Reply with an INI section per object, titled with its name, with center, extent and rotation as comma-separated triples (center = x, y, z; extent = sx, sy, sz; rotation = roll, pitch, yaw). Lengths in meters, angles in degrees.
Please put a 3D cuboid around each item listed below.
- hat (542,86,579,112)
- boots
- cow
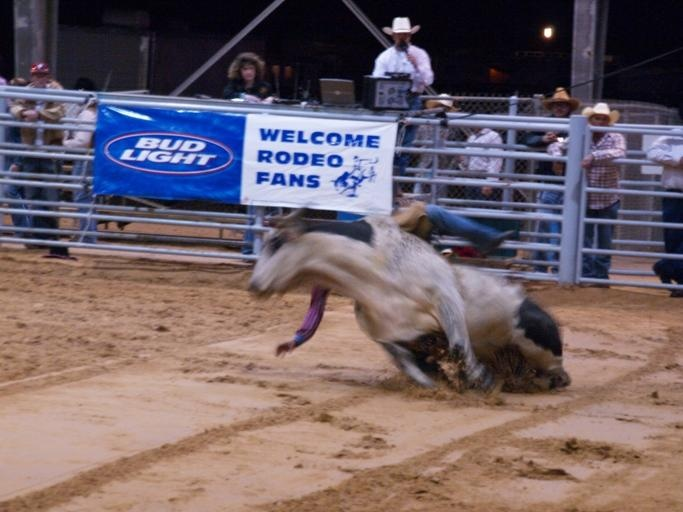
[hat]
center = 3.224, -2.296, 12.820
extent = 0.658, 0.161, 0.575
rotation = -1, -13, 13
[boots]
center = 1.370, -0.284, 10.109
extent = 1.132, 0.248, 0.363
rotation = 15, -11, -16
[cow]
center = 0.609, 0.403, 7.523
extent = 2.765, 1.504, 0.542
rotation = 2, 3, -2
